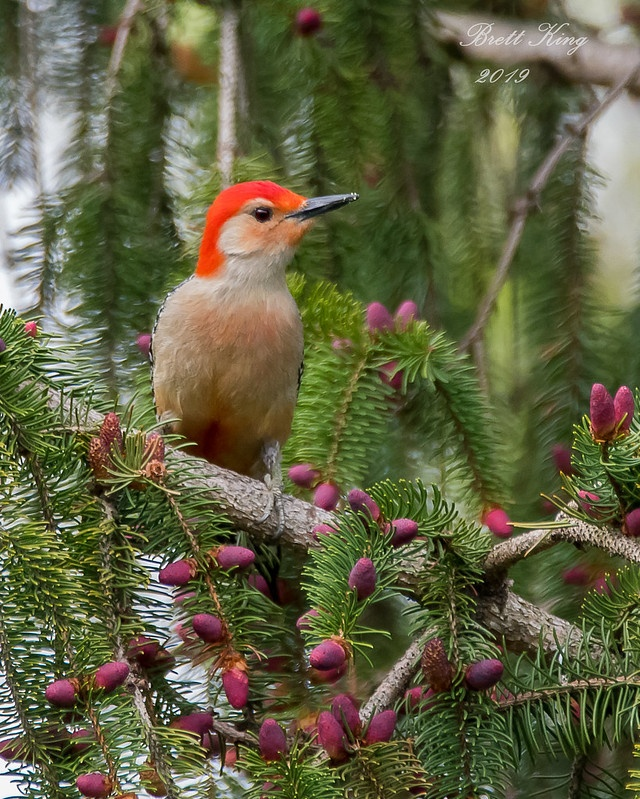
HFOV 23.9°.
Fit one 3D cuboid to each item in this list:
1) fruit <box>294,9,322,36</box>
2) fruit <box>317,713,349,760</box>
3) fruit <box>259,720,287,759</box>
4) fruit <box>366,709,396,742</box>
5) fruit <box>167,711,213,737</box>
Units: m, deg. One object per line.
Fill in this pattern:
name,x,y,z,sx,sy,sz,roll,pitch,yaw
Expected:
fruit,-0.041,-1.409,5.643,0.110,0.093,0.058,-7,11,4
fruit,0.037,0.833,3.781,0.056,0.109,0.062,-37,-5,30
fruit,-0.115,0.837,3.729,0.072,0.099,0.078,4,23,1
fruit,0.154,0.818,3.804,0.064,0.066,0.108,8,22,10
fruit,-0.342,0.856,4.009,0.104,0.051,0.041,-8,62,-4
